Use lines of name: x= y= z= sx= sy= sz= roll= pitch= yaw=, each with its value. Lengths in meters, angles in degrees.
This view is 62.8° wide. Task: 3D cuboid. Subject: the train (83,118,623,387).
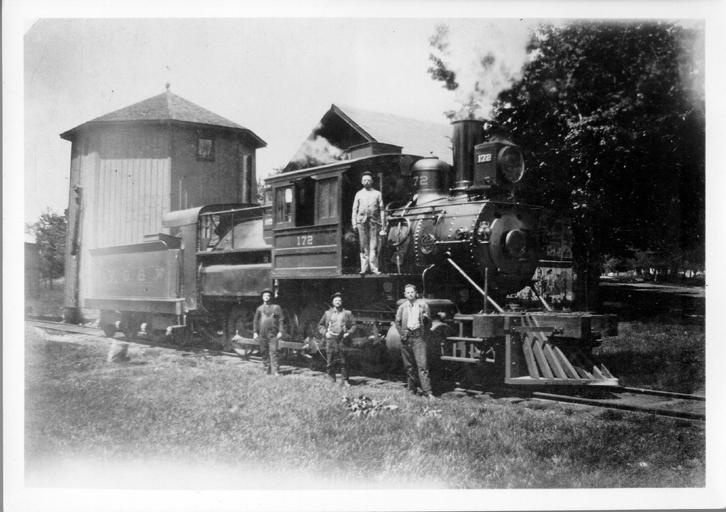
train: x=-2.384 y=0.023 z=15.347 sx=4.555 sy=5.561 sz=15.245 roll=2 pitch=-3 yaw=-40

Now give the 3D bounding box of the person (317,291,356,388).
person: x=-0.496 y=1.615 z=11.697 sx=0.671 sy=1.740 sz=0.434 roll=-1 pitch=-1 yaw=28

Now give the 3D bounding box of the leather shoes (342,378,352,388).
leather shoes: x=-0.315 y=2.442 z=11.524 sx=0.167 sy=0.123 sz=0.295 roll=0 pitch=-1 yaw=-4

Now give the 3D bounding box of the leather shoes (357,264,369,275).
leather shoes: x=0.038 y=0.268 z=11.611 sx=0.243 sy=0.193 sz=0.146 roll=-1 pitch=-1 yaw=13

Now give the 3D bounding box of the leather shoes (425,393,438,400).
leather shoes: x=1.231 y=2.504 z=10.562 sx=0.172 sy=0.105 sz=0.194 roll=0 pitch=-1 yaw=-19

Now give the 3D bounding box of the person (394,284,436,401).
person: x=0.944 y=1.532 z=10.780 sx=0.713 sy=1.986 sz=0.421 roll=-1 pitch=-1 yaw=17

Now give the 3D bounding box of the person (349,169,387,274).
person: x=0.119 y=-0.621 z=11.652 sx=0.655 sy=1.973 sz=0.319 roll=0 pitch=-1 yaw=-1
